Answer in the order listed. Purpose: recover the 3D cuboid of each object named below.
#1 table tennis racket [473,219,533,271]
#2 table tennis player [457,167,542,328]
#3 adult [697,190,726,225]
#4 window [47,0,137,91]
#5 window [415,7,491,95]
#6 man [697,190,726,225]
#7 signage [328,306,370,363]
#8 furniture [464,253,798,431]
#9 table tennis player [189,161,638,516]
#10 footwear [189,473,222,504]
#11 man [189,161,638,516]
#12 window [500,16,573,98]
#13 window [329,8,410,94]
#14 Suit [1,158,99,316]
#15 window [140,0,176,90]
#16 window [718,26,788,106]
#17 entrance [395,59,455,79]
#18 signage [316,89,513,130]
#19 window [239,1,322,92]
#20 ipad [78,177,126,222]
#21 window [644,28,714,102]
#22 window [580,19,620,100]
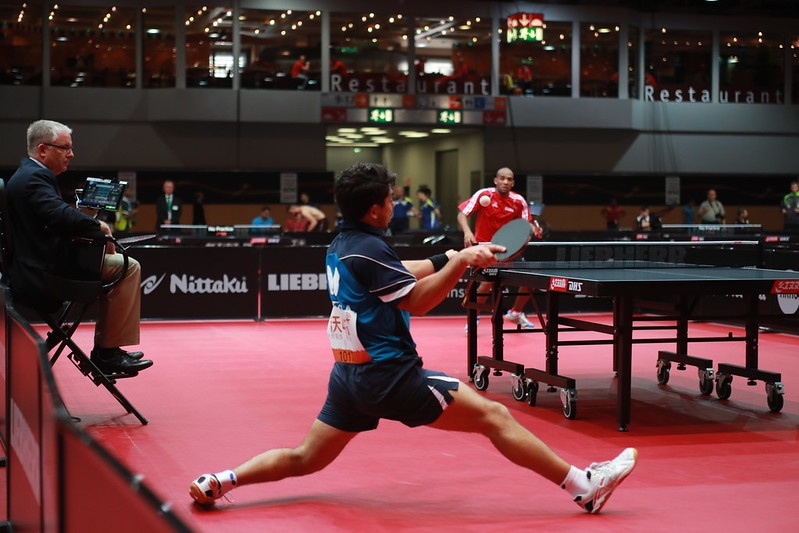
[{"bbox_3d":[0.644,-0.110,4.598,0.349,0.039,0.204,-34,38,-7],"label":"table tennis racket"},{"bbox_3d":[1.231,-0.556,9.992,0.914,1.123,0.312,4,37,-5],"label":"table tennis player"},{"bbox_3d":[8.949,-1.715,21.898,0.614,0.927,0.966,1,7,4],"label":"adult"},{"bbox_3d":[-8.579,-6.275,21.147,2.465,2.546,0.097,0,-2,-10],"label":"window"},{"bbox_3d":[1.476,-6.429,22.583,2.744,2.974,0.195,1,-5,-10],"label":"window"},{"bbox_3d":[8.947,-1.713,21.880,0.614,0.927,0.931,1,7,4],"label":"man"},{"bbox_3d":[-0.288,0.404,4.554,0.053,0.286,0.321,-7,-1,-34],"label":"signage"},{"bbox_3d":[2.125,0.475,7.220,1.803,1.156,2.358,0,-3,-21],"label":"furniture"},{"bbox_3d":[0.029,0.683,4.698,2.511,1.762,0.578,2,7,11],"label":"table tennis player"},{"bbox_3d":[-1.209,1.402,4.818,0.179,0.168,0.209,-5,0,-4],"label":"footwear"},{"bbox_3d":[0.025,0.682,4.698,2.514,1.762,0.578,2,7,11],"label":"man"},{"bbox_3d":[3.994,-6.188,22.699,2.675,2.751,0.105,1,-9,-14],"label":"window"},{"bbox_3d":[-0.948,-6.195,22.125,2.648,2.887,0.209,0,-1,-7],"label":"window"},{"bbox_3d":[-2.862,-0.235,6.500,0.940,1.654,1.170,-1,4,-29],"label":"Suit"},{"bbox_3d":[-6.684,-6.141,21.213,1.013,2.159,0.156,2,7,11],"label":"window"},{"bbox_3d":[11.430,-6.692,24.873,2.582,2.671,0.109,-1,4,-5],"label":"window"},{"bbox_3d":[1.080,-5.937,22.849,1.299,0.555,0.313,-1,9,-7],"label":"entrance"},{"bbox_3d":[0.404,-4.522,21.735,5.204,0.891,0.604,0,7,-7],"label":"signage"},{"bbox_3d":[-3.460,-6.281,21.653,2.524,2.849,0.187,-1,-4,-4],"label":"window"},{"bbox_3d":[-2.504,-0.598,6.394,0.491,0.380,0.258,5,4,-7],"label":"ipad"},{"bbox_3d":[8.770,-6.525,24.238,2.345,2.457,0.177,2,1,-5],"label":"window"},{"bbox_3d":[6.161,-6.423,23.500,1.184,2.243,0.571,1,7,5],"label":"window"}]
